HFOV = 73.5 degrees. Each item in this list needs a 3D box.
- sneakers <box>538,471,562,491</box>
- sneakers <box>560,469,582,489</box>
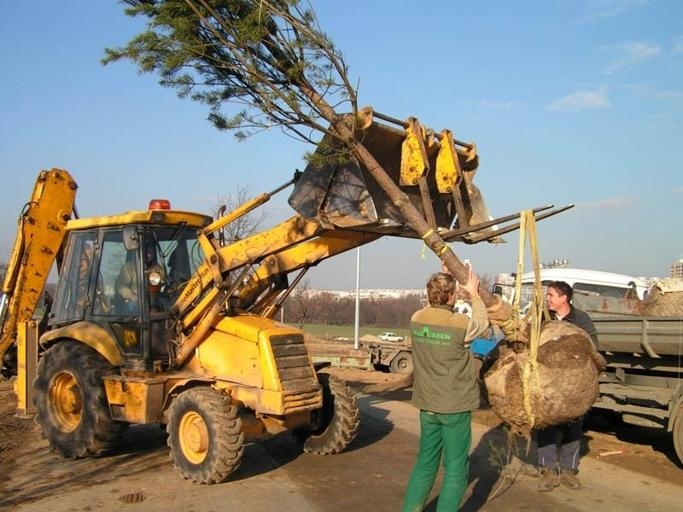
[{"bbox_3d":[2.403,2.579,5.295,0.354,0.229,0.147,7,-9,-43],"label":"sneakers"},{"bbox_3d":[2.689,2.645,5.447,0.149,0.134,0.311,1,-12,-13],"label":"sneakers"}]
